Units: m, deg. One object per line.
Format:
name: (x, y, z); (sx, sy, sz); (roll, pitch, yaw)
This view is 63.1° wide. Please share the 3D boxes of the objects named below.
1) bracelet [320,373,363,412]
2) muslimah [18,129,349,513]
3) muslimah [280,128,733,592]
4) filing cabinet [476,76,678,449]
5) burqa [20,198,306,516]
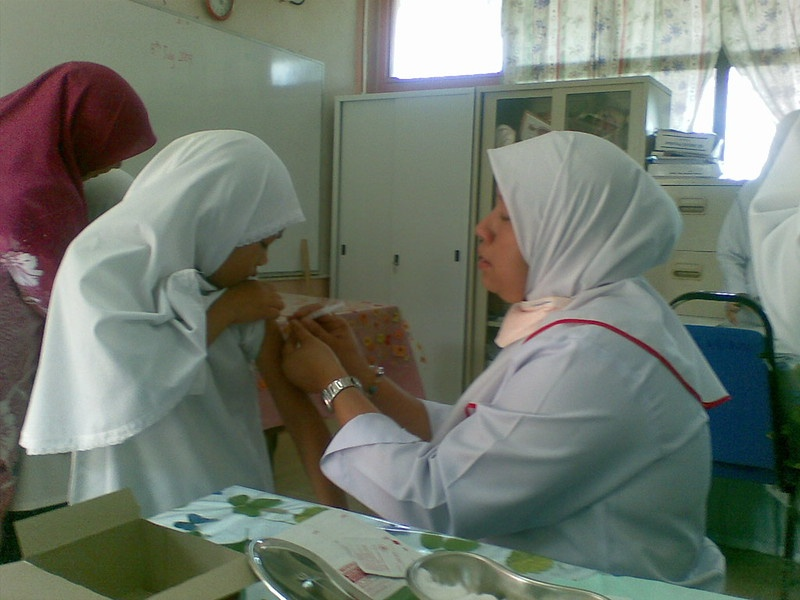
bracelet: (-0.113, 0.194, 1.379); (0.077, 0.081, 0.060); (-14, 41, 28)
muslimah: (-0.518, 0.103, 1.411); (0.511, 0.980, 0.617); (7, 11, 31)
muslimah: (0.229, 0.081, 1.893); (1.038, 1.451, 0.794); (11, -5, 13)
filing cabinet: (1.317, -0.256, 4.423); (1.630, 2.060, 0.837); (6, 8, 36)
burqa: (-0.539, 0.055, 1.454); (0.537, 0.686, 0.445); (-6, 15, -36)
